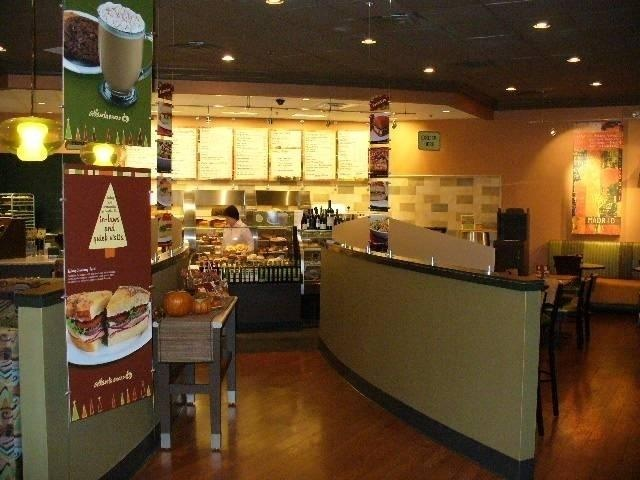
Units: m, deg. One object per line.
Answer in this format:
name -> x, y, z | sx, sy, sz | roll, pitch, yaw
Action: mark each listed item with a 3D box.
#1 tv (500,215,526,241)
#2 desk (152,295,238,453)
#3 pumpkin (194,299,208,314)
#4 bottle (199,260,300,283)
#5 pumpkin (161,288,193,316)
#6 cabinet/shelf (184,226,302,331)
tv -> 3.648, -0.154, 9.909 | 0.525, 0.558, 0.416 | -5, -6, 32
desk -> -1.064, 1.090, 4.497 | 0.585, 1.088, 0.918 | 0, 5, -3
pumpkin -> -0.979, 0.538, 4.285 | 0.104, 0.107, 0.109 | -2, -9, 19
bottle -> -0.901, 0.445, 7.403 | 1.228, 0.306, 0.117 | -1, 5, -11
pumpkin -> -1.164, 0.498, 4.261 | 0.187, 0.197, 0.203 | 4, 4, 37
cabinet/shelf -> -0.950, 0.376, 7.710 | 1.519, 1.509, 0.814 | 1, 23, 12
